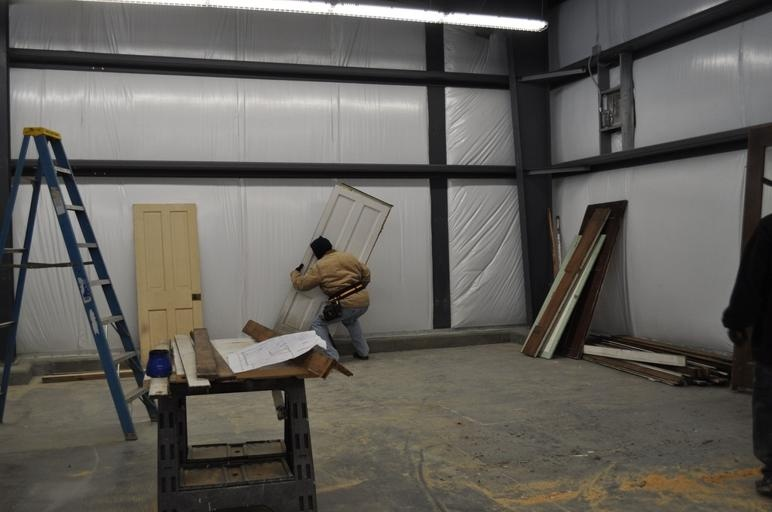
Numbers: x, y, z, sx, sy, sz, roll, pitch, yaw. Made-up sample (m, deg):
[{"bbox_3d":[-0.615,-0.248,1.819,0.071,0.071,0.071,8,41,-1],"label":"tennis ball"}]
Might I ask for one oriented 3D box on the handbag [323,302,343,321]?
[{"bbox_3d":[-0.749,0.785,7.167,0.266,0.268,0.203,5,-5,-8],"label":"handbag"}]
